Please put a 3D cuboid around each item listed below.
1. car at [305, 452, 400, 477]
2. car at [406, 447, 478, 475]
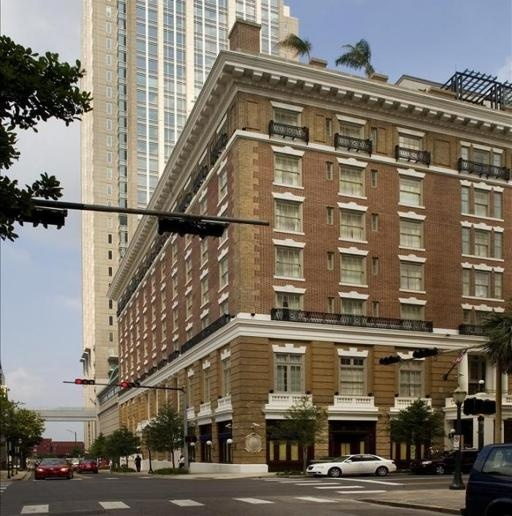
[{"bbox_3d":[7.166,15.063,111.995,5.975,1.756,1.321,2,-15,-6],"label":"car"},{"bbox_3d":[14.023,15.235,114.950,4.958,2.090,2.491,2,-7,-7],"label":"car"}]
